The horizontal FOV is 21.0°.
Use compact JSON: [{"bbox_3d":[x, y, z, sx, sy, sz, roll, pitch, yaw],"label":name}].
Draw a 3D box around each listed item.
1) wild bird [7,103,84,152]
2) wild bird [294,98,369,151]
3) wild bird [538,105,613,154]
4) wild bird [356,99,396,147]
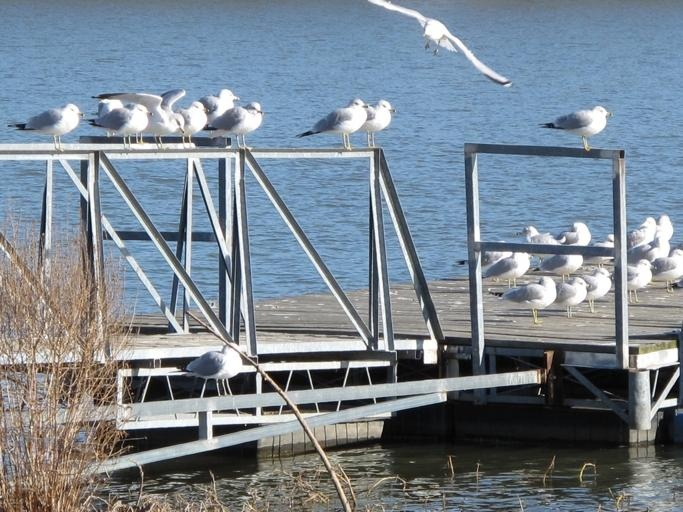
[{"bbox_3d":[-5.832,-2.514,35.259,1.802,0.951,0.681,3,-4,-4],"label":"wild bird"},{"bbox_3d":[-0.060,-2.475,36.045,1.091,0.832,1.247,-4,13,1],"label":"wild bird"},{"bbox_3d":[4.563,-2.506,36.110,1.035,0.754,0.536,-4,15,2],"label":"wild bird"},{"bbox_3d":[0.675,-2.697,37.160,0.748,0.954,1.420,-1,-3,-28],"label":"wild bird"}]
